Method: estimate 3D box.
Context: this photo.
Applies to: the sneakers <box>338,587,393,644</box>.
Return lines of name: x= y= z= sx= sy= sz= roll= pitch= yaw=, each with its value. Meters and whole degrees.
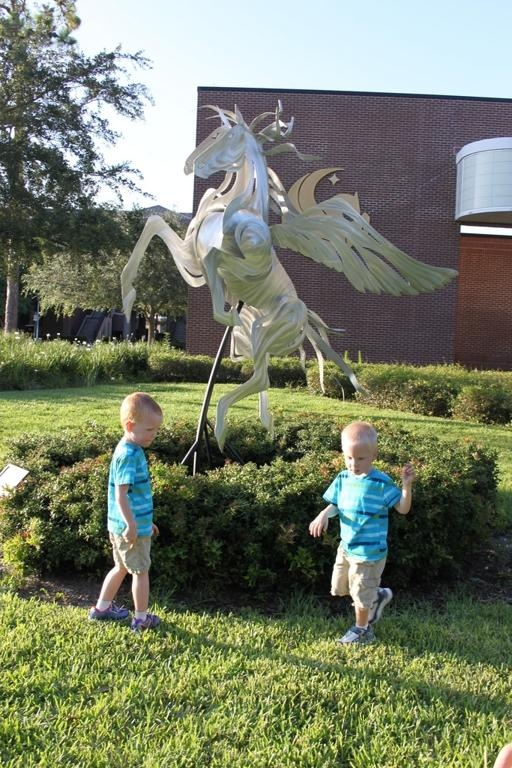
sneakers: x=0.569 y=1.241 z=3.622 sx=0.145 sy=0.182 sz=0.450 roll=-17 pitch=-8 yaw=36

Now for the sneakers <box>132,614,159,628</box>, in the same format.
sneakers: x=-0.554 y=1.186 z=3.380 sx=0.055 sy=0.056 sz=0.141 roll=8 pitch=8 yaw=42

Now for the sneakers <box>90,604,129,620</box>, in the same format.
sneakers: x=-0.767 y=1.179 z=3.493 sx=0.199 sy=0.083 sz=0.077 roll=3 pitch=10 yaw=-23

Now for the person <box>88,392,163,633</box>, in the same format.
person: x=-0.632 y=0.634 z=3.489 sx=0.343 sy=1.176 sz=0.503 roll=5 pitch=-1 yaw=-12

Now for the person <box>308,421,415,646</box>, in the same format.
person: x=0.510 y=0.758 z=3.498 sx=0.467 sy=1.036 sz=0.580 roll=5 pitch=-1 yaw=6
